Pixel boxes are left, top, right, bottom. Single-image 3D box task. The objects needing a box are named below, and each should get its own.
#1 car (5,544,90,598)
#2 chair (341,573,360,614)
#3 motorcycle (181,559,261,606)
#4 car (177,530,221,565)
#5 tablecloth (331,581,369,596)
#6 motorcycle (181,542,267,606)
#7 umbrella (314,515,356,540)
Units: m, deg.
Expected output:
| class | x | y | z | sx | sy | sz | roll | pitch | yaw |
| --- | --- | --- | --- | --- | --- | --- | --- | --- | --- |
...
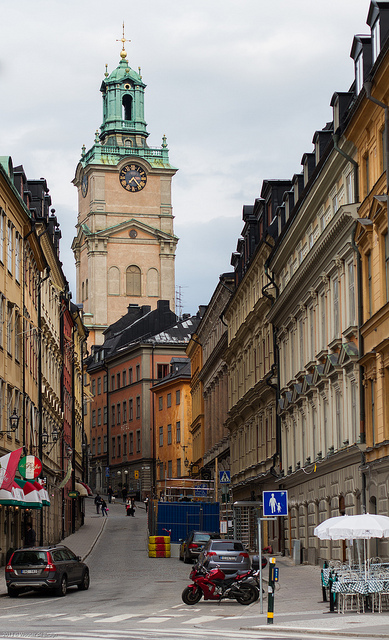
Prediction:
| class | x | y | z | sx | sy | sz | roll | pitch | yaw |
| --- | --- | --- | --- | --- | --- | --- | --- | --- | --- |
| car | -3.591 | 6.171 | 26.980 | 1.006 | 1.086 | 2.448 | -4 | -6 | 14 |
| chair | 2.847 | 5.023 | 19.720 | 0.341 | 0.777 | 0.384 | -6 | -14 | 17 |
| motorcycle | 0.566 | 5.637 | 22.763 | 1.526 | 1.156 | 0.866 | 2 | -9 | 2 |
| car | 0.069 | 8.769 | 42.178 | 1.233 | 1.220 | 2.760 | 1 | -6 | -7 |
| tablecloth | 2.797 | 4.912 | 19.627 | 0.656 | 0.232 | 0.291 | -10 | -4 | 7 |
| motorcycle | 0.597 | 5.436 | 22.996 | 2.034 | 1.531 | 1.169 | 3 | -14 | -1 |
| umbrella | 2.595 | 4.133 | 21.149 | 0.525 | 0.239 | 0.536 | -1 | 0 | 43 |
